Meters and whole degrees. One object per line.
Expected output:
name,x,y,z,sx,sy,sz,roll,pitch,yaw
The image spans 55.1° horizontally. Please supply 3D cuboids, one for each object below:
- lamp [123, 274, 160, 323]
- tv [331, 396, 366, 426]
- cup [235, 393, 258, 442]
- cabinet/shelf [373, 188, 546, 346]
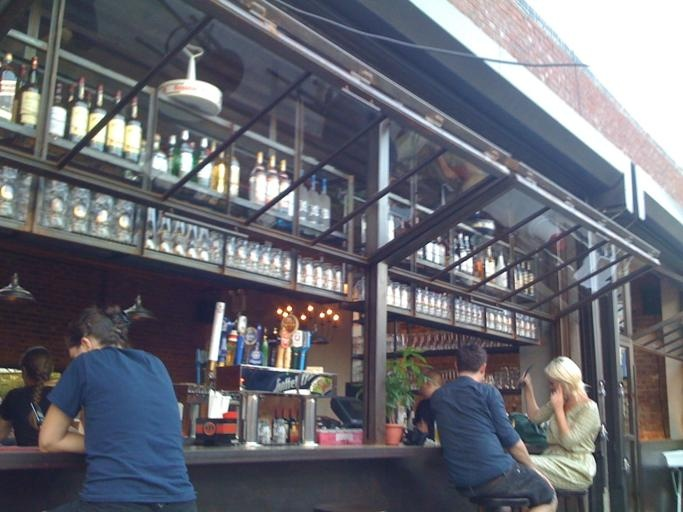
lamp,-2.320,0.457,7.460,0.446,0.505,0.479,5,-15,-33
tv,0.060,1.407,5.988,0.328,0.089,0.366,22,9,1
cup,-0.703,1.191,4.861,0.143,0.366,0.088,1,-20,-2
cabinet/shelf,1.042,-0.039,6.110,1.536,0.547,2.173,-7,-23,17
